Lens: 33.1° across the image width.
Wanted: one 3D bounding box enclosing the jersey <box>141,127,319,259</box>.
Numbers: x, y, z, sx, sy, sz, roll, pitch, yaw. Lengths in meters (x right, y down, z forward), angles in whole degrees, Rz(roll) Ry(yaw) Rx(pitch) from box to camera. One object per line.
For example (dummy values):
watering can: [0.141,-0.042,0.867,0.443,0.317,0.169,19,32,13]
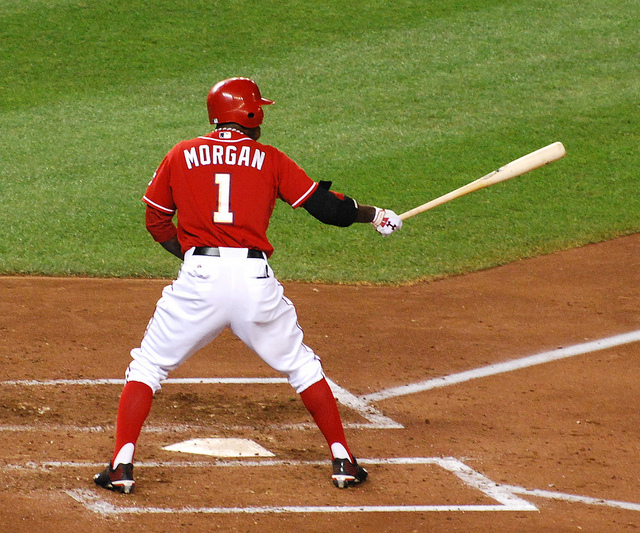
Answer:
jersey: [-0.593,-0.477,7.169,1.247,0.823,0.407,4,11,12]
